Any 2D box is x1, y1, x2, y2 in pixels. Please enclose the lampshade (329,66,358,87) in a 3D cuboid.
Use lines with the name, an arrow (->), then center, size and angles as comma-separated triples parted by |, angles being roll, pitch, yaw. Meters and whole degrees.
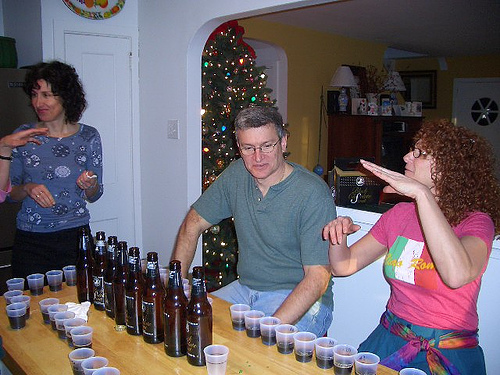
lampshade -> 1.589, -1.885, 6.309 | 0.335, 0.237, 0.325 | 2, 15, 15

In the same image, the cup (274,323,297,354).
cup -> 0.122, 0.537, 1.317 | 0.084, 0.073, 0.088 | 1, 4, 0

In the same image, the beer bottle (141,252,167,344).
beer bottle -> -0.351, 0.399, 1.346 | 0.083, 0.359, 0.063 | -2, 11, -16

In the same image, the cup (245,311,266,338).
cup -> 0.028, 0.519, 1.440 | 0.074, 0.078, 0.093 | 3, 7, 16

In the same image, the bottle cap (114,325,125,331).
bottle cap -> -0.523, 0.553, 1.456 | 0.022, 0.002, 0.022 | -8, 26, -22

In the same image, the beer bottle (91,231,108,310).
beer bottle -> -0.624, 0.351, 1.594 | 0.075, 0.343, 0.089 | -2, 12, -20

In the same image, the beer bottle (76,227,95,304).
beer bottle -> -0.730, 0.355, 1.683 | 0.081, 0.323, 0.095 | -3, 13, -22

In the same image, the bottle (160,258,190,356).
bottle -> -0.263, 0.408, 1.308 | 0.133, 0.357, 0.123 | 1, 11, 0

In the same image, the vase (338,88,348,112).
vase -> 1.653, -1.565, 6.601 | 0.156, 0.412, 0.106 | 1, 11, 1

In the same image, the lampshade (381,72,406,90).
lampshade -> 2.740, -2.001, 7.003 | 0.350, 0.283, 0.391 | -2, 10, 8

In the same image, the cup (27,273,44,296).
cup -> -1.008, 0.456, 1.745 | 0.084, 0.092, 0.087 | -1, -1, 0

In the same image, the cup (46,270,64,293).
cup -> -0.945, 0.452, 1.795 | 0.090, 0.102, 0.090 | -1, 0, 0

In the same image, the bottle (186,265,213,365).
bottle -> -0.170, 0.425, 1.236 | 0.085, 0.365, 0.076 | -1, 11, -13

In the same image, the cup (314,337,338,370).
cup -> 0.256, 0.559, 1.264 | 0.074, 0.084, 0.080 | 1, 12, 0

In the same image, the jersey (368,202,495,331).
jersey -> 0.799, 0.349, 1.744 | 0.257, 0.499, 0.497 | -4, 13, -26

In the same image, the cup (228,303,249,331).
cup -> -0.051, 0.526, 1.524 | 0.083, 0.091, 0.085 | 1, 6, 0

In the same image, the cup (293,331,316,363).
cup -> 0.185, 0.548, 1.277 | 0.076, 0.067, 0.085 | 1, -6, 1

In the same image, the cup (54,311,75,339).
cup -> -0.723, 0.523, 1.431 | 0.084, 0.095, 0.089 | 0, -2, 0

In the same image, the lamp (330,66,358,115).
lamp -> 1.609, -1.776, 6.513 | 0.446, 0.919, 0.536 | -2, 4, -40

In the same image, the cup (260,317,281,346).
cup -> 0.069, 0.533, 1.376 | 0.088, 0.079, 0.085 | 1, 4, 0
